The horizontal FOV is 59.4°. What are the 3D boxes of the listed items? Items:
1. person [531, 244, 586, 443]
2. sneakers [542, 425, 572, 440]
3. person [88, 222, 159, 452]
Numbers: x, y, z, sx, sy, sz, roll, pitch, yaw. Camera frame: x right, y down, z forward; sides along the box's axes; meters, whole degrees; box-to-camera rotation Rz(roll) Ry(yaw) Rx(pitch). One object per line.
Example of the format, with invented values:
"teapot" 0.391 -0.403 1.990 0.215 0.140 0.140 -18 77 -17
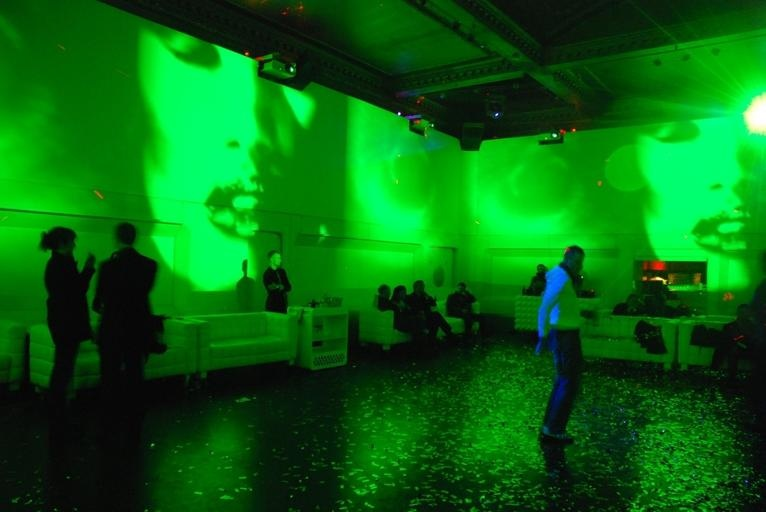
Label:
"person" 2.295 1.132 8.628 0.566 2.513 0.425 2 4 13
"sneakers" 2.283 2.302 8.770 0.422 0.151 0.145 1 0 6
"person" -3.113 0.883 8.105 0.718 2.558 0.310 0 4 -16
